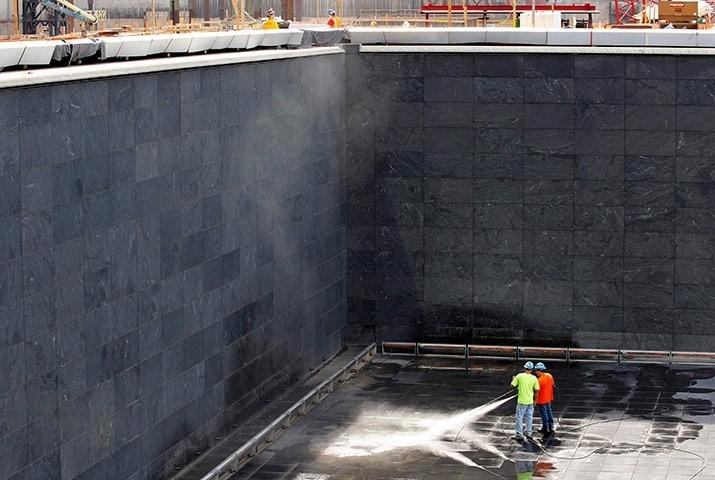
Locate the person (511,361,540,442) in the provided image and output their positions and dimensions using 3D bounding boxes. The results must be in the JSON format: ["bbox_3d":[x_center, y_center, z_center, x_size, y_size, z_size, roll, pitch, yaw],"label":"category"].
[{"bbox_3d":[5.362,5.093,34.877,0.795,2.443,1.050,1,14,8],"label":"person"}]
